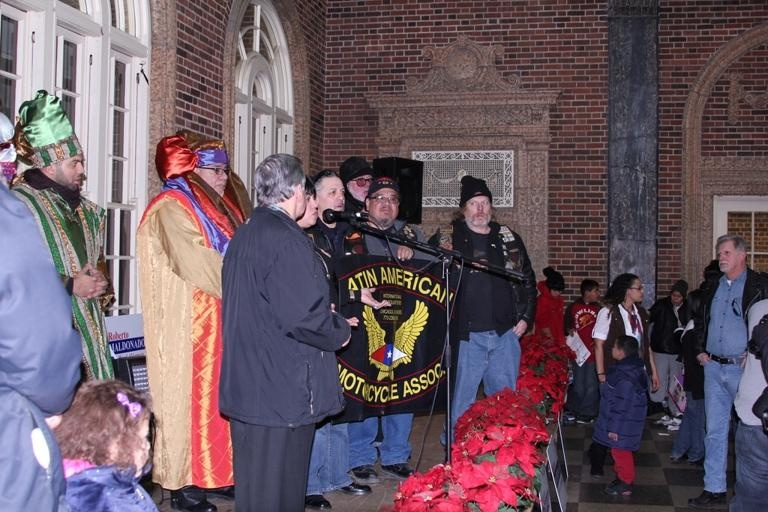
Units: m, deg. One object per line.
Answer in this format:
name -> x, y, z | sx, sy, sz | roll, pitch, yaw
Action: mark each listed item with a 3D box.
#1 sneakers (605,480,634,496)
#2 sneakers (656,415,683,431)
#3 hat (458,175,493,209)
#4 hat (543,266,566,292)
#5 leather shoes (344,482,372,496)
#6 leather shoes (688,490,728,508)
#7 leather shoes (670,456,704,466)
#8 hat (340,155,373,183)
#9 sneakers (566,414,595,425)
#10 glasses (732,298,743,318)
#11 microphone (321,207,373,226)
sneakers -> 2.008, 1.983, 7.220 | 0.197, 0.199, 0.111 | 11, -6, 12
sneakers -> 3.173, 1.858, 9.422 | 0.293, 0.091, 0.224 | -5, 8, -24
hat -> 0.822, -0.573, 7.161 | 0.212, 0.180, 0.170 | 9, -38, 4
hat -> 2.055, 0.296, 10.339 | 0.233, 0.191, 0.341 | -3, 16, -4
leather shoes -> -0.206, 1.826, 6.637 | 0.187, 0.080, 0.101 | -1, -2, 12
leather shoes -> 2.690, 2.019, 7.079 | 0.331, 0.163, 0.129 | 0, -2, 2
leather shoes -> 2.885, 1.952, 8.049 | 0.287, 0.084, 0.111 | -5, -9, 19
hat -> -0.240, -0.758, 7.457 | 0.255, 0.247, 0.203 | -1, 2, 33
sneakers -> 2.177, 1.828, 9.479 | 0.351, 0.161, 0.122 | 0, 1, 9
glasses -> 2.932, 0.436, 7.030 | 0.026, 0.123, 0.063 | -8, -7, 41
microphone -> -0.255, -0.264, 5.773 | 0.354, 0.142, 0.094 | 0, -6, -39
